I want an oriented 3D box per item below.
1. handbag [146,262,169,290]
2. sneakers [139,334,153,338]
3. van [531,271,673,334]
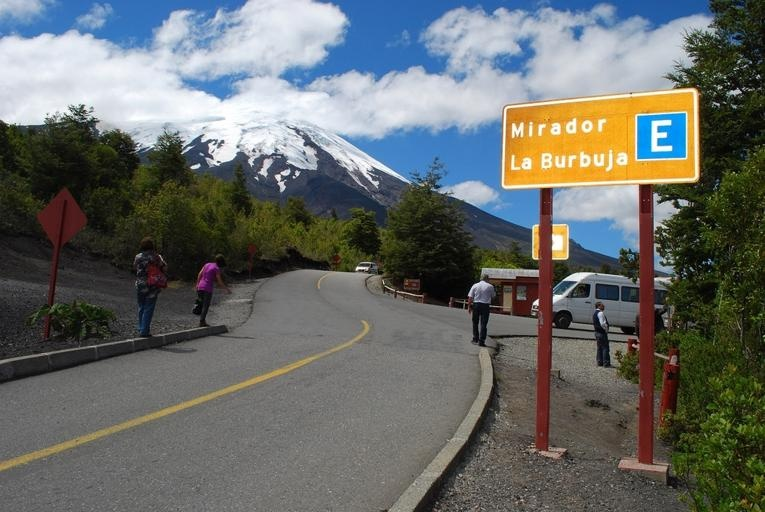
[{"bbox_3d":[-5.298,0.495,13.649,0.284,0.608,0.487,3,-1,42],"label":"handbag"},{"bbox_3d":[-5.508,1.864,13.573,0.244,0.088,0.253,5,-1,-23],"label":"sneakers"},{"bbox_3d":[11.500,2.436,30.208,5.819,3.115,2.488,6,-5,2],"label":"van"}]
